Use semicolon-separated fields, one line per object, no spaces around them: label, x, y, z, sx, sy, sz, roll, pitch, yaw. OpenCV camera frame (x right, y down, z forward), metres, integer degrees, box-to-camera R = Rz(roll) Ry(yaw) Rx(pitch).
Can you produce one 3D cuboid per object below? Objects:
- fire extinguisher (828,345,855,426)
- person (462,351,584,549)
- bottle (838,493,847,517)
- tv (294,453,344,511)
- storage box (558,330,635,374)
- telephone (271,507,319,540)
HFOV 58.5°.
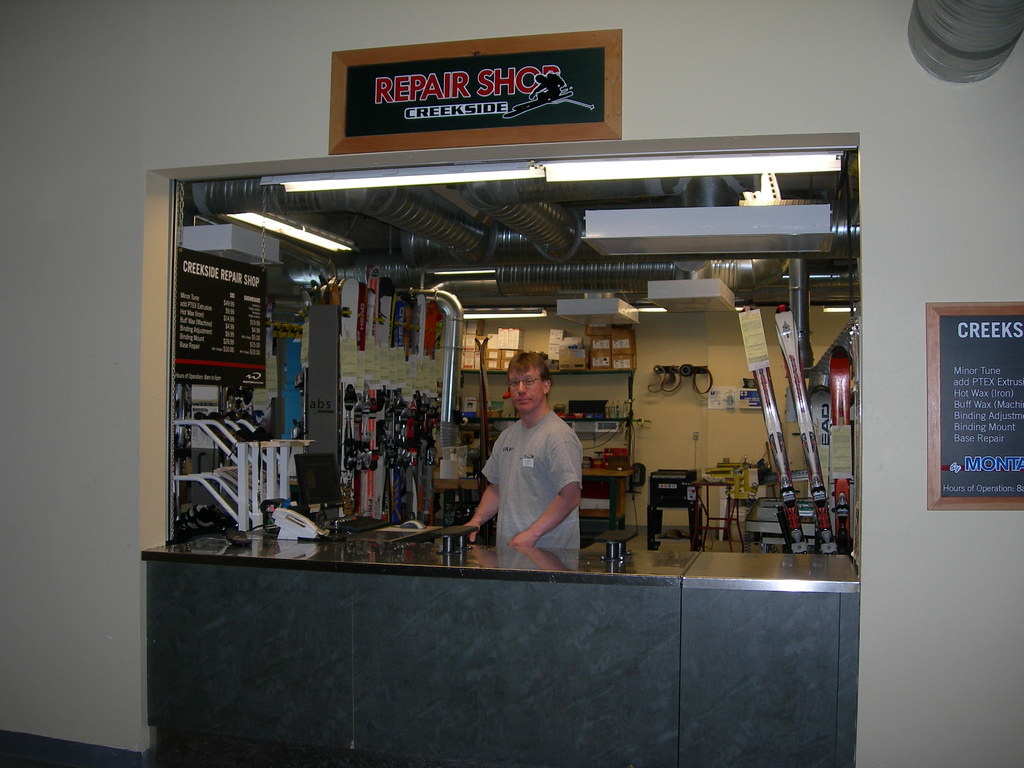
fire extinguisher;1.621;0.005;4.483;0.107;0.392;0.329;-1;-2;20
person;0.061;0.359;5.068;0.750;1.066;0.509;-2;-3;44
bottle;1.624;0.591;4.481;0.065;0.117;0.059;-1;-2;13
tv;-1.149;0.580;5.406;0.070;0.330;0.445;-15;-3;22
storage box;1.221;-0.455;12.692;1.011;0.575;0.713;1;-1;10
telephone;-1.200;0.770;5.023;0.331;0.157;0.153;-2;-2;37
